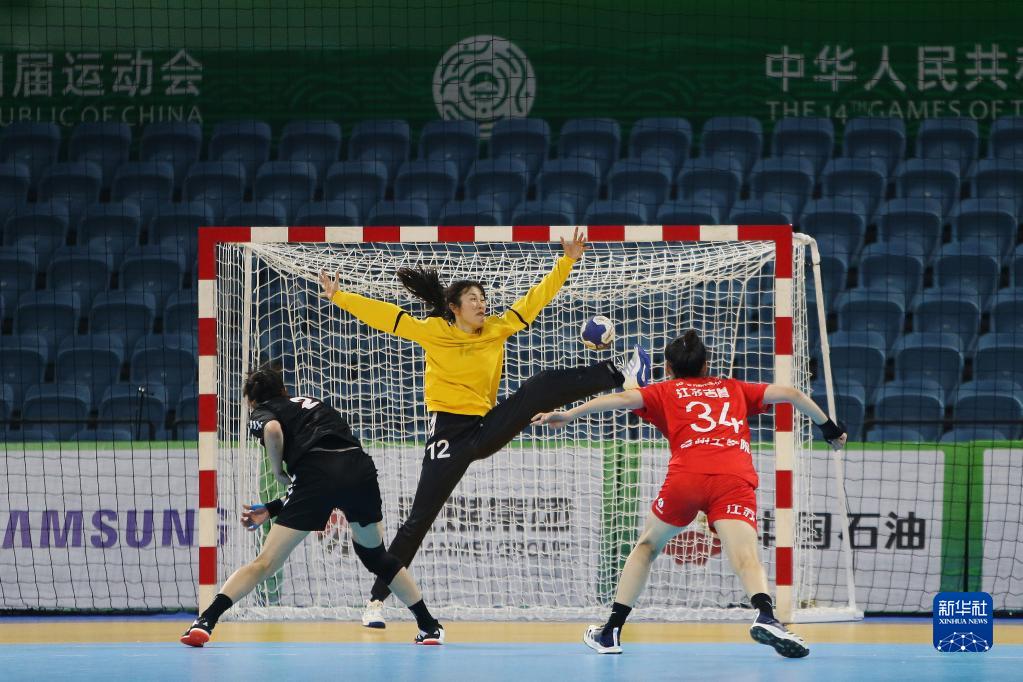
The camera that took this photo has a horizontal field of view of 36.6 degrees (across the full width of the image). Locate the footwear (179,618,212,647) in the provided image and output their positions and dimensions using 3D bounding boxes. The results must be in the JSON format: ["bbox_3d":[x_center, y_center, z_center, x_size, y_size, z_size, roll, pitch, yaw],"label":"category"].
[{"bbox_3d":[-3.722,3.411,18.178,0.339,0.316,0.288,3,-10,-13],"label":"footwear"}]

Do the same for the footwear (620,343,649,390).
[{"bbox_3d":[1.509,0.342,18.557,0.307,0.594,0.221,4,-33,14],"label":"footwear"}]

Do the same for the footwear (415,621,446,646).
[{"bbox_3d":[-0.966,3.494,18.329,0.198,0.170,0.402,2,-9,-17],"label":"footwear"}]

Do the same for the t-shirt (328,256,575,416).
[{"bbox_3d":[-0.818,-0.096,19.525,2.477,1.423,0.541,-1,6,4],"label":"t-shirt"}]

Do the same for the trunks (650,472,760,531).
[{"bbox_3d":[2.272,1.847,17.912,0.979,0.440,0.337,2,0,7],"label":"trunks"}]

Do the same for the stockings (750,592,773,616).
[{"bbox_3d":[2.871,3.009,17.684,0.258,0.281,0.123,-1,-10,8],"label":"stockings"}]

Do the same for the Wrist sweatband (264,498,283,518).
[{"bbox_3d":[-2.821,1.967,18.242,0.253,0.184,0.195,-3,-1,-16],"label":"Wrist sweatband"}]

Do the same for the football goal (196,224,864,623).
[{"bbox_3d":[-0.405,1.048,20.781,9.034,4.955,2.937,0,0,-30],"label":"football goal"}]
